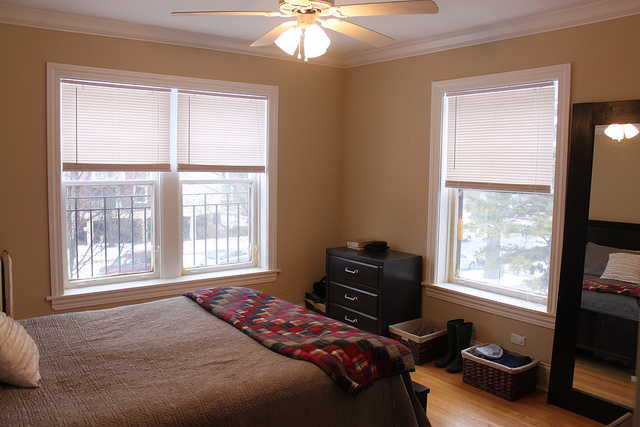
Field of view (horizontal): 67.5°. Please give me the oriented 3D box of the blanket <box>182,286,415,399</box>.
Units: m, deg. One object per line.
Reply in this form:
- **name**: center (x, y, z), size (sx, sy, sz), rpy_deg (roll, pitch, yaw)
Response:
- **blanket**: center (-0.219, 0.832, 3.541), size (1.764, 0.212, 0.654), rpy_deg (6, 3, 43)

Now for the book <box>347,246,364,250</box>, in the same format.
- **book**: center (0.372, 0.362, 5.153), size (0.182, 0.026, 0.057), rpy_deg (4, 7, 23)

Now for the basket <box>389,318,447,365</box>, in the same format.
- **basket**: center (0.941, 1.229, 4.782), size (0.524, 0.269, 0.496), rpy_deg (-2, 0, -35)

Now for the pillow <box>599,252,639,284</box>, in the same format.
- **pillow**: center (2.334, 0.422, 3.752), size (0.073, 0.197, 0.220), rpy_deg (15, 3, -19)

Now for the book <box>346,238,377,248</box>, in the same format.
- **book**: center (0.451, 0.312, 5.225), size (0.308, 0.077, 0.321), rpy_deg (2, 6, 8)

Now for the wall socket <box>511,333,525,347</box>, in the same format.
- **wall socket**: center (1.796, 1.138, 4.348), size (0.021, 0.099, 0.150), rpy_deg (-18, 12, -34)

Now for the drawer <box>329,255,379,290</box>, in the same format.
- **drawer**: center (0.415, 0.574, 5.104), size (0.669, 0.233, 0.528), rpy_deg (11, 7, 32)

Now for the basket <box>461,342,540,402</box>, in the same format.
- **basket**: center (1.627, 1.409, 4.320), size (0.432, 0.266, 0.513), rpy_deg (-3, 6, -34)

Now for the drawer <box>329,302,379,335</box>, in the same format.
- **drawer**: center (0.334, 1.064, 4.906), size (0.329, 0.267, 0.079), rpy_deg (11, 12, 41)
